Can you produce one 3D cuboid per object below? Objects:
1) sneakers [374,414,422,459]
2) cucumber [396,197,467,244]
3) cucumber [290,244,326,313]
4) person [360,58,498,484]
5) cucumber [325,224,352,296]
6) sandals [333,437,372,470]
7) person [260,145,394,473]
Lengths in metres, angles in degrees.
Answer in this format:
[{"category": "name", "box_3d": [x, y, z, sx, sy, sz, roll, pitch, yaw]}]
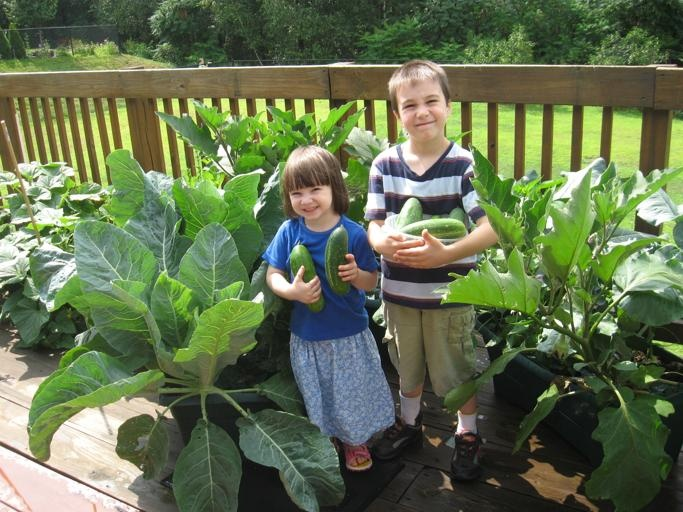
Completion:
[{"category": "sneakers", "box_3d": [0.238, 0.789, 2.137, 0.247, 0.147, 0.150, -9, 19, -41]}, {"category": "cucumber", "box_3d": [0.346, -0.141, 1.870, 0.305, 0.150, 0.226, -16, 22, -30]}, {"category": "cucumber", "box_3d": [-0.139, 0.075, 1.921, 0.092, 0.284, 0.097, -18, -9, 35]}, {"category": "person", "box_3d": [0.356, 0.079, 2.170, 0.529, 1.722, 0.576, 4, 17, 10]}, {"category": "cucumber", "box_3d": [-0.011, 0.021, 1.855, 0.069, 0.260, 0.090, 12, -20, -42]}, {"category": "sandals", "box_3d": [0.046, 0.833, 2.135, 0.081, 0.097, 0.203, -6, 8, -24]}, {"category": "person", "box_3d": [-0.056, 0.247, 1.993, 0.452, 1.358, 0.459, 1, 15, 21]}]
